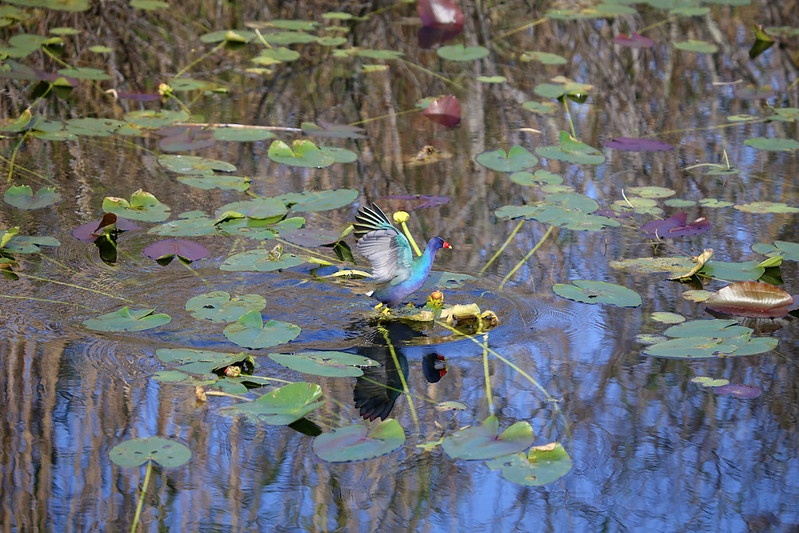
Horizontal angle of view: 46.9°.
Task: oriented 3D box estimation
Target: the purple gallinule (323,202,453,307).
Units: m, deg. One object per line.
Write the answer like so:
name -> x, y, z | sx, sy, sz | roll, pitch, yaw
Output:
purple gallinule -> -0.104, -0.099, 6.725 | 1.275, 0.784, 0.691 | 2, -70, -1
